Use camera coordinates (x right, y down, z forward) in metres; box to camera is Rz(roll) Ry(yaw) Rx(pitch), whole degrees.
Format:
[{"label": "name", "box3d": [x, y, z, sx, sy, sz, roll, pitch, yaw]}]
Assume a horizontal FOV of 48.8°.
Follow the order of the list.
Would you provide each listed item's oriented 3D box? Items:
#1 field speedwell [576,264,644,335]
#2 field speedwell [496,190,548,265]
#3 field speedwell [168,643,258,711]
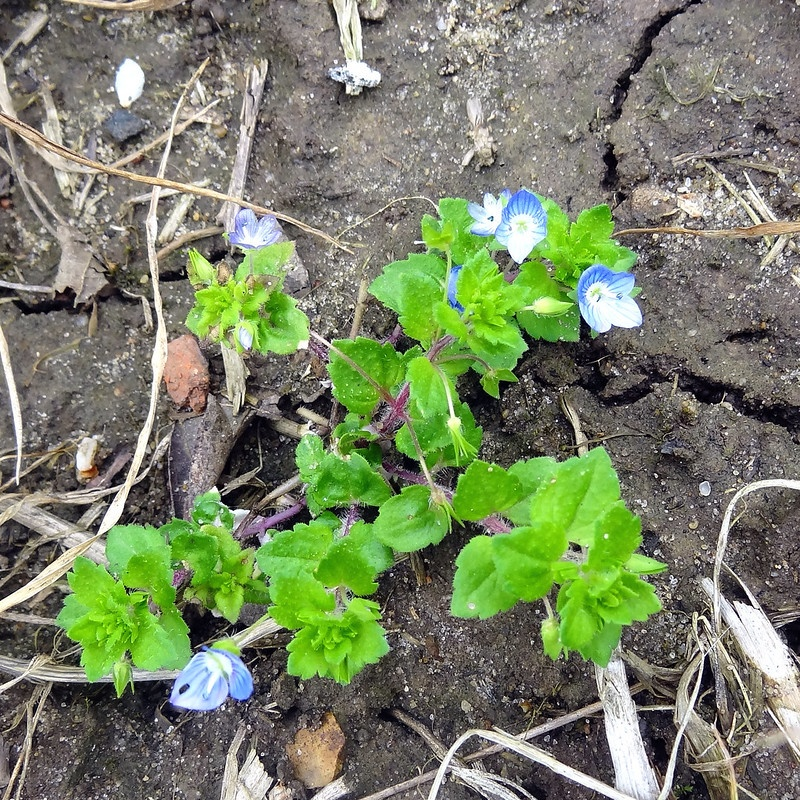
[{"label": "field speedwell", "box3d": [0.539, -0.265, 2.282, 0.160, 0.128, 0.132, -11, 62, 1]}, {"label": "field speedwell", "box3d": [0.318, -0.457, 2.359, 0.121, 0.059, 0.198, 0, 97, 2]}, {"label": "field speedwell", "box3d": [-0.451, 0.659, 2.123, 0.179, 0.071, 0.147, -28, 94, -24]}]
